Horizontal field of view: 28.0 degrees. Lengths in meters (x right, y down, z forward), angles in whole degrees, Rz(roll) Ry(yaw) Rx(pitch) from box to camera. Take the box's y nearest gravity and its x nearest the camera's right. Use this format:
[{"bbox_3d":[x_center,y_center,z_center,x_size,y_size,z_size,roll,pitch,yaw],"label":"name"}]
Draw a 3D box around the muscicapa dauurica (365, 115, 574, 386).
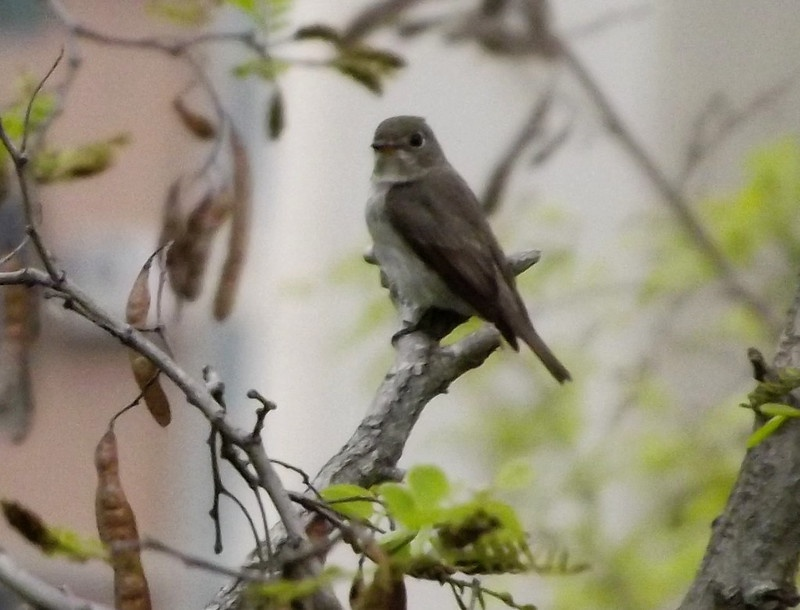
[{"bbox_3d":[0.112,-0.110,2.793,0.378,0.223,0.363,11,-89,2],"label":"muscicapa dauurica"}]
